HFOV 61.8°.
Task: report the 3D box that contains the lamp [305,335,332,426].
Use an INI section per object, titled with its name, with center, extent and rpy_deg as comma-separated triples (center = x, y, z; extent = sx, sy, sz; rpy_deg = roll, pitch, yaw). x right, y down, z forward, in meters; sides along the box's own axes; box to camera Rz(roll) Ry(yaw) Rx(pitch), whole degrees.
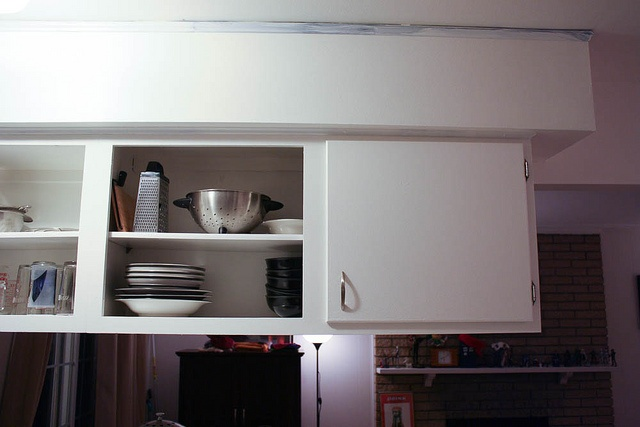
[lamp]
center = -0.024, 1.522, 4.787
extent = 0.272, 0.844, 0.579
rpy_deg = 1, -11, 0

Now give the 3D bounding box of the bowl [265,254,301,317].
[bowl]
center = -0.132, 0.320, 2.333
extent = 0.198, 0.179, 0.234
rpy_deg = 0, -6, 2

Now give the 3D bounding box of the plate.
[plate]
center = -0.686, 0.307, 2.329
extent = 0.272, 0.130, 0.272
rpy_deg = 8, -12, -41

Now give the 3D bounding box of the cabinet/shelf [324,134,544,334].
[cabinet/shelf]
center = 0.474, 0.108, 2.541
extent = 0.901, 0.843, 0.566
rpy_deg = 0, -6, 1
